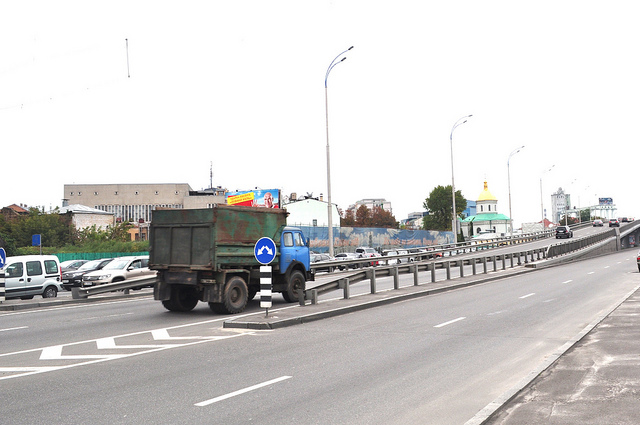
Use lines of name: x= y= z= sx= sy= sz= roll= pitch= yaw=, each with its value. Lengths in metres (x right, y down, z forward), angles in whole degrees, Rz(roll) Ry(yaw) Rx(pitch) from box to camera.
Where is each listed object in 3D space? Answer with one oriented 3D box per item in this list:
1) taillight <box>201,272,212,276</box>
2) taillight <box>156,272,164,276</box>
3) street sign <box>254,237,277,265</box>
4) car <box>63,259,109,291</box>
taillight: x=-3.868 y=2.092 z=23.651 sx=0.396 sy=0.126 sz=0.023 roll=-6 pitch=-3 yaw=16
taillight: x=-5.700 y=2.171 z=24.518 sx=0.195 sy=0.112 sz=0.397 roll=-2 pitch=-5 yaw=-42
street sign: x=-1.778 y=1.231 z=22.716 sx=0.607 sy=0.845 sz=0.613 roll=-5 pitch=-3 yaw=2
car: x=-12.811 y=3.422 z=37.930 sx=1.929 sy=1.655 sz=3.930 roll=0 pitch=-2 yaw=5
